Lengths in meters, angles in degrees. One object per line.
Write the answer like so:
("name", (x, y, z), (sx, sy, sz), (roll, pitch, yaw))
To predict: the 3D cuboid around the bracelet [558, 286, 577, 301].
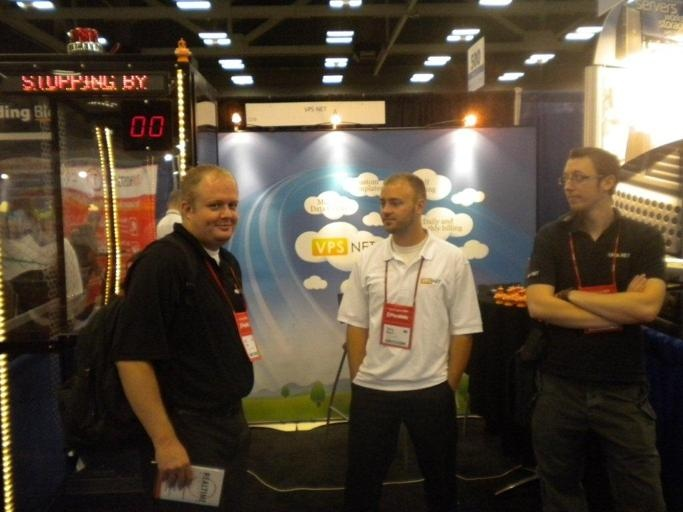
("bracelet", (1.218, 0.203, 3.376), (0.045, 0.055, 0.086), (3, -7, -10))
